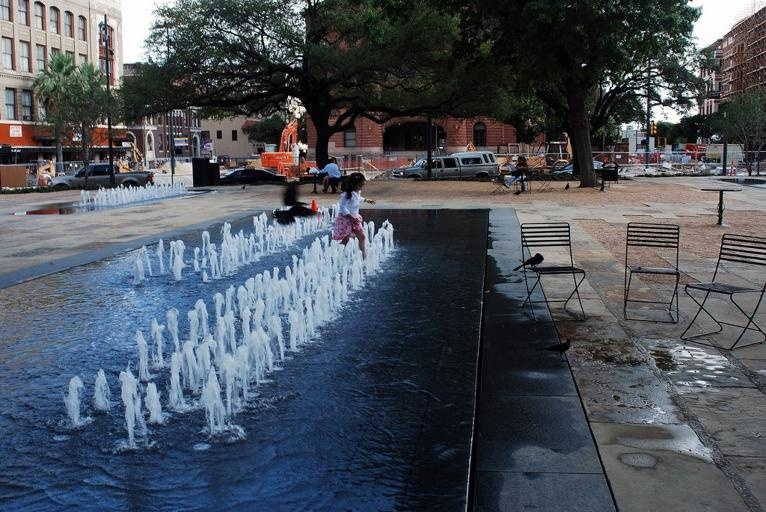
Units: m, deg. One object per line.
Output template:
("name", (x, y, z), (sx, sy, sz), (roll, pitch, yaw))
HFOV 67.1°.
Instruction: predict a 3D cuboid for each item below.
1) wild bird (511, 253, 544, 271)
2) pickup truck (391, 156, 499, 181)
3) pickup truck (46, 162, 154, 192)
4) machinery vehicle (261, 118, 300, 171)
("wild bird", (2.640, 0.109, 10.579), (0.441, 0.195, 0.155), (-25, 32, -16))
("pickup truck", (5.016, -6.690, 42.432), (6.802, 1.814, 2.332), (0, 11, 8))
("pickup truck", (-19.355, -5.155, 39.138), (7.523, 2.698, 3.214), (1, 6, 1))
("machinery vehicle", (-9.751, -10.512, 55.188), (3.092, 4.679, 10.990), (-4, 11, -10))
